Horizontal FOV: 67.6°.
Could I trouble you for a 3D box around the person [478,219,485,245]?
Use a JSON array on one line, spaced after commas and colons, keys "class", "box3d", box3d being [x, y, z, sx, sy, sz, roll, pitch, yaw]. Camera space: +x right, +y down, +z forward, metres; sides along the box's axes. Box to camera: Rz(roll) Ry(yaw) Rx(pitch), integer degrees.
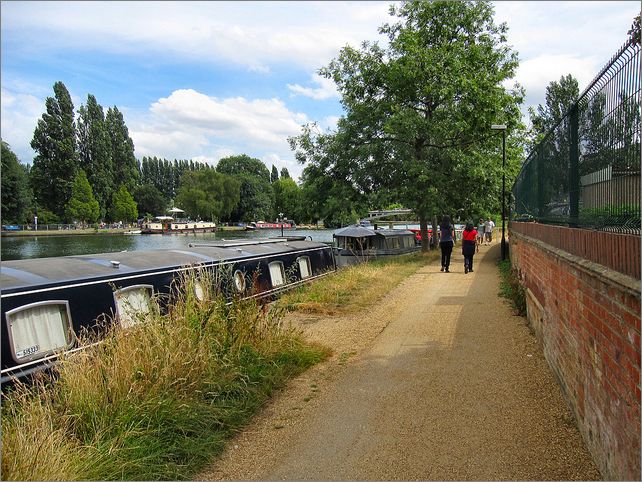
[{"class": "person", "box3d": [9.378, -0.471, 27.892, 0.359, 1.686, 2.189, -1, 6, 18]}]
